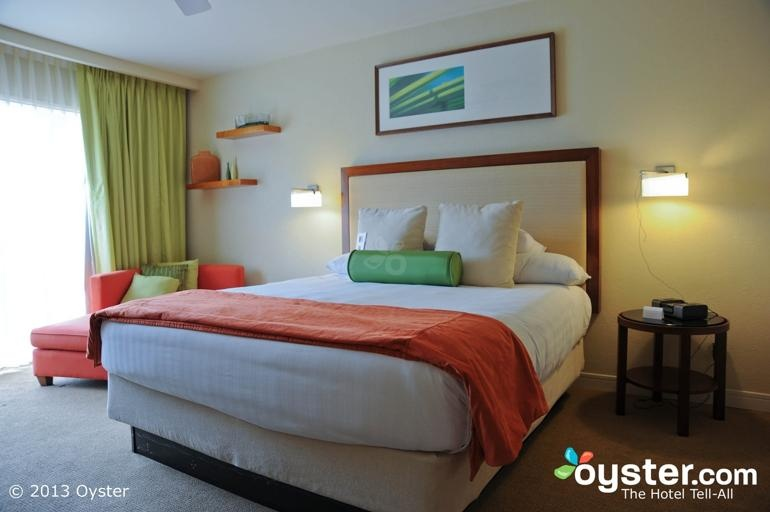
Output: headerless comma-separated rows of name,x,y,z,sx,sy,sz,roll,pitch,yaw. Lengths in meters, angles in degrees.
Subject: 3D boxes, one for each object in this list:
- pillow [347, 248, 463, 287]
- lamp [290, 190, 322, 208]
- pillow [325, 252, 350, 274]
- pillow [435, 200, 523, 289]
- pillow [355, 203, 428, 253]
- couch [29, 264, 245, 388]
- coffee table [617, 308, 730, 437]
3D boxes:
pillow,0.137,0.085,4.227,0.954,0.342,0.315,1,0,30
lamp,-0.779,-0.577,5.224,0.250,0.146,0.179,1,6,9
pillow,-0.419,0.054,4.767,0.202,0.093,0.199,2,-7,-42
pillow,0.736,-0.070,4.021,0.645,0.630,0.233,0,-13,33
pillow,0.034,-0.187,4.620,0.745,0.543,0.261,8,0,39
couch,-2.220,0.637,4.899,1.438,0.918,1.361,5,8,23
coffee table,2.155,0.814,3.811,0.564,0.639,0.579,7,-13,-26
